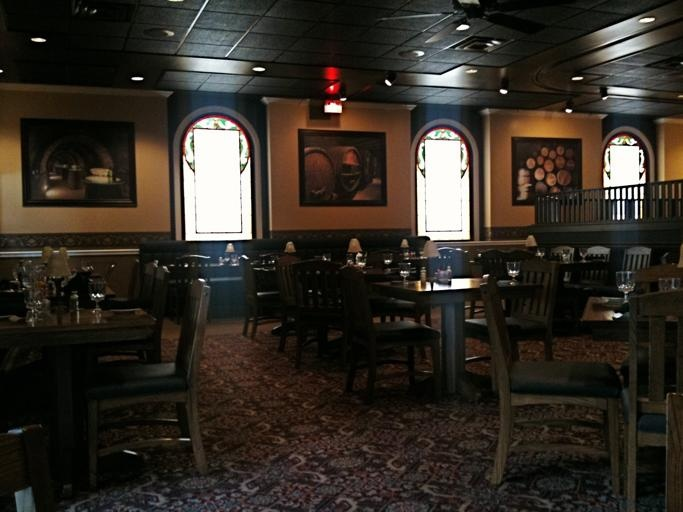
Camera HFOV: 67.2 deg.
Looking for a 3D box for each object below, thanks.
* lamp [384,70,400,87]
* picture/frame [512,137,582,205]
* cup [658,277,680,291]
[{"bbox_3d":[0.810,-3.038,8.668,0.201,0.193,0.222,-28,-13,29],"label":"lamp"},{"bbox_3d":[4.496,-1.918,11.480,2.339,1.537,0.097,0,-1,-15],"label":"picture/frame"},{"bbox_3d":[1.750,0.151,2.753,0.122,0.073,0.100,0,-2,-25],"label":"cup"}]
